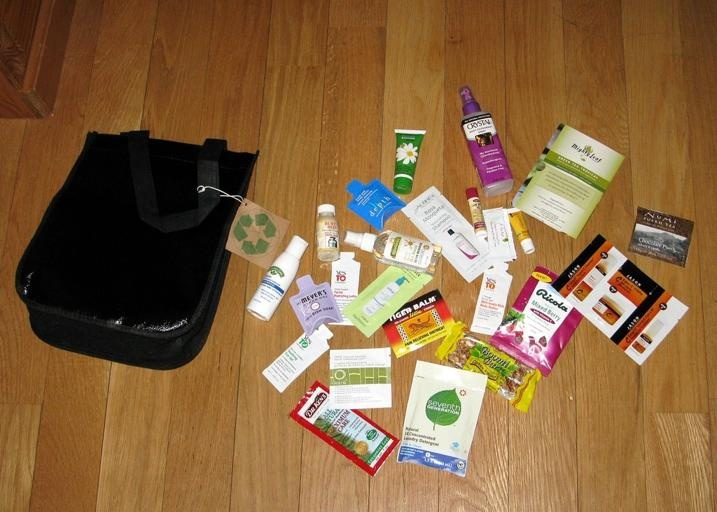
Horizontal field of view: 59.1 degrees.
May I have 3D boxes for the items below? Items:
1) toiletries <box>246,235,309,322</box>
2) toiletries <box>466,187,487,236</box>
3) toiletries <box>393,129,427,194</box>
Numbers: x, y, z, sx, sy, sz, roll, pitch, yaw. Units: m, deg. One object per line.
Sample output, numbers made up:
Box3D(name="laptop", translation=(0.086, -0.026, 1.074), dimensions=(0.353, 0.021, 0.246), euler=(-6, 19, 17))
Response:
Box3D(name="toiletries", translation=(-0.232, 0.062, 1.902), dimensions=(0.105, 0.324, 0.106), euler=(22, -10, 2))
Box3D(name="toiletries", translation=(0.354, -0.130, 1.912), dimensions=(0.028, 0.122, 0.113), euler=(-10, 13, 13))
Box3D(name="toiletries", translation=(0.144, -0.305, 1.958), dimensions=(0.089, 0.192, 0.051), euler=(4, 30, -5))
